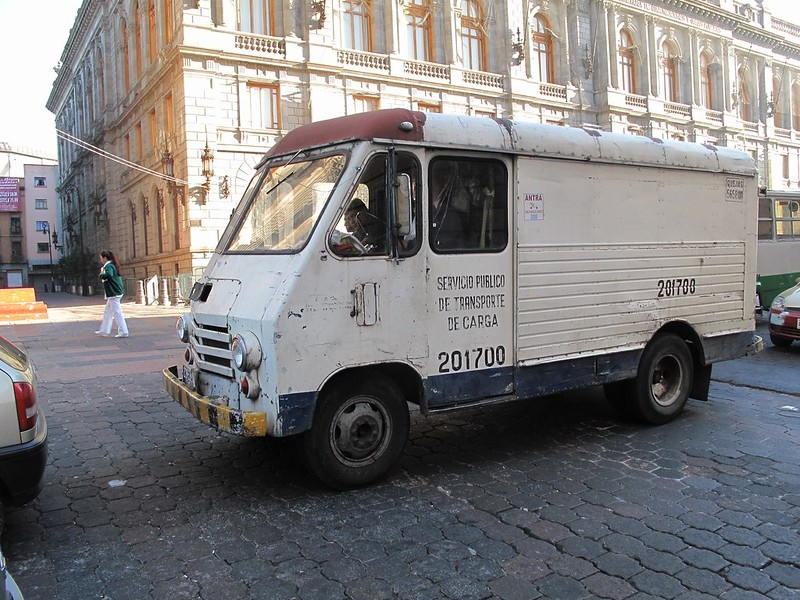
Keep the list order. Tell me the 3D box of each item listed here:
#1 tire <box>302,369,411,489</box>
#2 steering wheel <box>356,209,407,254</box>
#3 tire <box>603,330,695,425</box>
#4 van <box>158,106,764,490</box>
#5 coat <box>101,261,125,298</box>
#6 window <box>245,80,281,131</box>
[{"bbox_3d":[-0.447,1.201,5.367,0.988,1.143,0.404,3,-2,-26],"label":"tire"},{"bbox_3d":[-0.292,-0.671,5.375,0.408,0.475,0.103,-4,8,-28],"label":"steering wheel"},{"bbox_3d":[3.057,0.931,7.084,0.956,1.101,0.375,-4,9,-30],"label":"tire"},{"bbox_3d":[0.801,-0.289,7.389,6.162,3.607,3.460,0,1,-30],"label":"van"},{"bbox_3d":[-7.010,-0.511,13.952,0.413,0.926,0.534,-5,8,-29],"label":"coat"},{"bbox_3d":[-6.778,-9.590,28.049,2.213,2.986,0.217,-3,7,-32],"label":"window"}]
